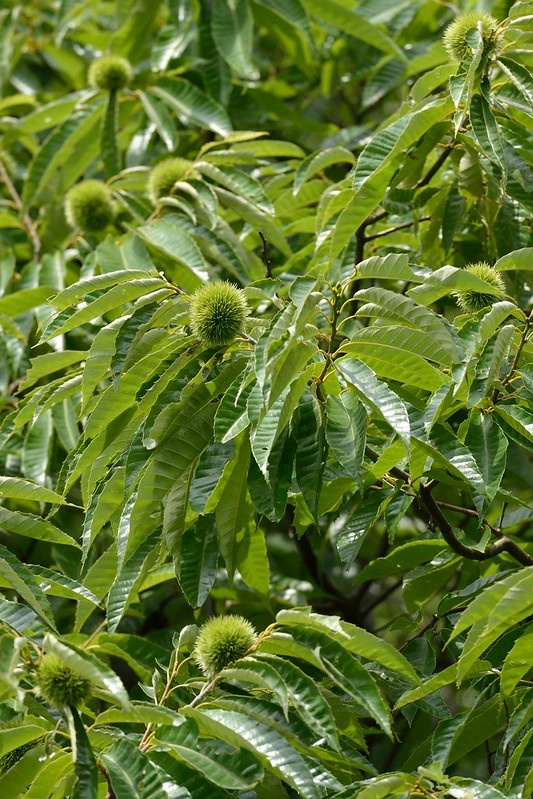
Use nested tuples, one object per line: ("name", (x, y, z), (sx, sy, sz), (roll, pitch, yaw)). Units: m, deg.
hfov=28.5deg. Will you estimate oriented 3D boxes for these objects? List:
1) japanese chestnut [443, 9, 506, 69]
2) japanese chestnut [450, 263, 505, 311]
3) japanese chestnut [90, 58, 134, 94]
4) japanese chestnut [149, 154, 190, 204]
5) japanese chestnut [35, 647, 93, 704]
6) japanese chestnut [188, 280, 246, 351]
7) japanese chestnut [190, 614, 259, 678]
("japanese chestnut", (0.537, -0.967, 2.779), (0.106, 0.105, 0.098), (-13, 97, -29))
("japanese chestnut", (0.521, -0.266, 2.634), (0.129, 0.126, 0.127), (10, 82, 11))
("japanese chestnut", (-0.527, -1.107, 3.641), (0.127, 0.117, 0.120), (-23, 42, -25))
("japanese chestnut", (-0.291, -0.668, 3.117), (0.136, 0.148, 0.144), (4, 56, -13))
("japanese chestnut", (-0.393, 0.545, 2.064), (0.126, 0.058, 0.109), (1, 85, 0))
("japanese chestnut", (-0.104, -0.188, 2.312), (0.110, 0.096, 0.098), (-10, 85, -27))
("japanese chestnut", (-0.089, 0.538, 2.332), (0.096, 0.084, 0.085), (-6, 94, -12))
